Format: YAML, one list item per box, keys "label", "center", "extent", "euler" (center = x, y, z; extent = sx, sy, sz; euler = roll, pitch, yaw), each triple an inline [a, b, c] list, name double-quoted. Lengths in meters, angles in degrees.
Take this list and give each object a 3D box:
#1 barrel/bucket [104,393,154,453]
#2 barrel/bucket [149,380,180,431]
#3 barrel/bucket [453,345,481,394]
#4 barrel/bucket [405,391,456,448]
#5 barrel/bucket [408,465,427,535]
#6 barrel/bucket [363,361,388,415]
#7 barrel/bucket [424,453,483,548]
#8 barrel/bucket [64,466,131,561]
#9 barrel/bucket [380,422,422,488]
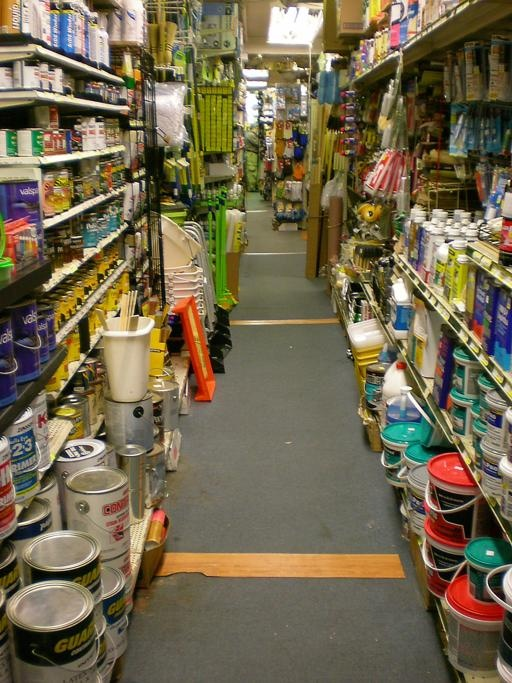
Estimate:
- label: "barrel/bucket"
  center: [-0.565, 0.373, 2.365]
  extent: [0.240, 0.258, 0.231]
  euler: [0, 14, 0]
- label: "barrel/bucket"
  center: [-0.522, 0.360, 2.959]
  extent: [0.142, 0.221, 0.227]
  euler: [-20, 30, -39]
- label: "barrel/bucket"
  center: [0.682, 0.091, 1.755]
  extent: [0.115, 0.127, 0.116]
  euler: [-2, 17, 1]
- label: "barrel/bucket"
  center: [0.802, 0.387, 2.438]
  extent: [0.236, 0.232, 0.180]
  euler: [2, 27, -1]
- label: "barrel/bucket"
  center: [0.664, 0.666, 2.159]
  extent: [0.076, 0.275, 0.233]
  euler: [4, 12, 16]
- label: "barrel/bucket"
  center: [0.836, 0.348, 3.624]
  extent: [0.186, 0.310, 0.188]
  euler: [2, 5, 0]
- label: "barrel/bucket"
  center: [0.645, 0.533, 1.791]
  extent: [0.209, 0.212, 0.219]
  euler: [-4, 21, 2]
- label: "barrel/bucket"
  center: [-0.505, 0.556, 1.685]
  extent: [0.213, 0.237, 0.215]
  euler: [4, 11, -1]
- label: "barrel/bucket"
  center: [0.762, 0.591, 2.677]
  extent: [0.244, 0.271, 0.248]
  euler: [0, 11, 0]
